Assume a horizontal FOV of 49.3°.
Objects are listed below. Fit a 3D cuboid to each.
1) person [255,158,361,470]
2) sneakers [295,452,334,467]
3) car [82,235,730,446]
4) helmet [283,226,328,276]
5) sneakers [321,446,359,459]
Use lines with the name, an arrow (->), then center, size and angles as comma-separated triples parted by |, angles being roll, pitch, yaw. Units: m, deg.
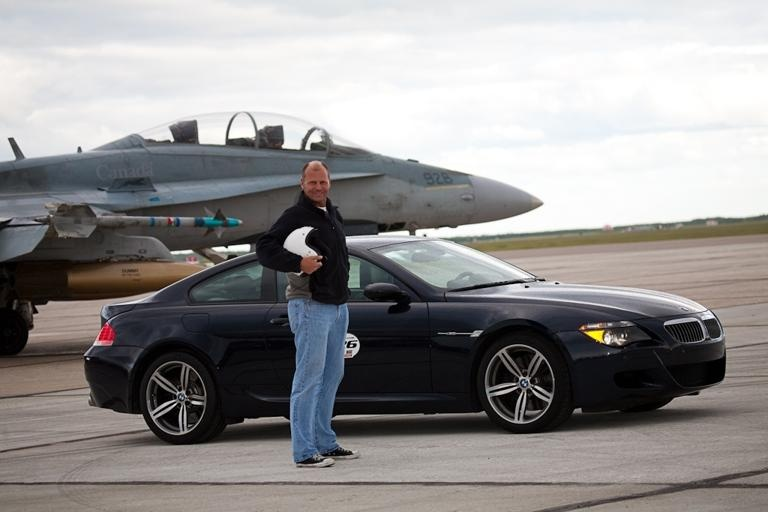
person -> -0.671, 0.507, 7.547 | 0.893, 2.501, 0.511 | 0, 0, -17
sneakers -> -0.588, 1.819, 7.475 | 0.383, 0.102, 0.116 | -2, 1, 6
car -> 0.322, 0.848, 9.070 | 6.911, 1.382, 2.415 | -2, -2, 9
helmet -> -0.684, -0.132, 7.481 | 0.376, 0.232, 0.229 | -2, 13, 16
sneakers -> -0.390, 1.796, 7.669 | 0.368, 0.096, 0.109 | -2, -1, 1
